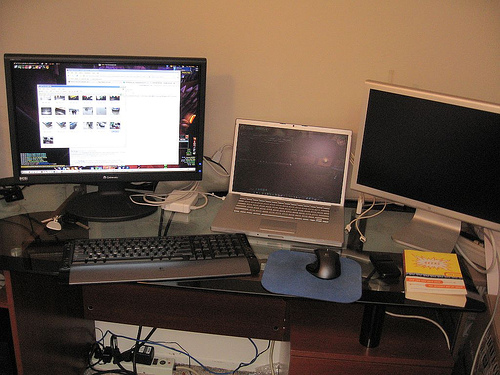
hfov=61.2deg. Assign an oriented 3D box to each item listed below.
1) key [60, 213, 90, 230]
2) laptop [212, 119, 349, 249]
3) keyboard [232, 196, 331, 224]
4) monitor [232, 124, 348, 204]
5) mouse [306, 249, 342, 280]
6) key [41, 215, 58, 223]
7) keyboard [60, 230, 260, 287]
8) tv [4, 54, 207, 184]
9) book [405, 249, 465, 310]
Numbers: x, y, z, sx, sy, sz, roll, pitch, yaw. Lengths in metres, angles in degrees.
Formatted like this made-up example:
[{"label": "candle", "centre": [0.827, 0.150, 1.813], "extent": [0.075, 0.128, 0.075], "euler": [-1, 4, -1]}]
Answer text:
[{"label": "key", "centre": [-0.660, 0.117, 1.605], "extent": [0.090, 0.031, 0.059], "euler": [18, 16, 23]}, {"label": "laptop", "centre": [0.133, -0.038, 1.637], "extent": [0.582, 0.295, 0.538], "euler": [-2, 25, -10]}, {"label": "keyboard", "centre": [0.131, 0.090, 1.697], "extent": [0.384, 0.048, 0.119], "euler": [4, 13, 6]}, {"label": "monitor", "centre": [0.164, -0.098, 1.750], "extent": [0.480, 0.309, 0.013], "euler": [7, 5, 7]}, {"label": "mouse", "centre": [0.244, 0.259, 1.459], "extent": [0.141, 0.083, 0.125], "euler": [0, 24, -5]}, {"label": "key", "centre": [-0.754, 0.117, 1.606], "extent": [0.074, 0.010, 0.019], "euler": [-23, 39, -11]}, {"label": "keyboard", "centre": [-0.297, 0.242, 1.430], "extent": [0.650, 0.112, 0.179], "euler": [1, 13, -7]}, {"label": "tv", "centre": [-0.558, -0.267, 1.596], "extent": [0.531, 0.361, 0.054], "euler": [-3, 23, -12]}, {"label": "book", "centre": [0.614, 0.303, 1.406], "extent": [0.184, 0.122, 0.194], "euler": [5, 14, 13]}]
